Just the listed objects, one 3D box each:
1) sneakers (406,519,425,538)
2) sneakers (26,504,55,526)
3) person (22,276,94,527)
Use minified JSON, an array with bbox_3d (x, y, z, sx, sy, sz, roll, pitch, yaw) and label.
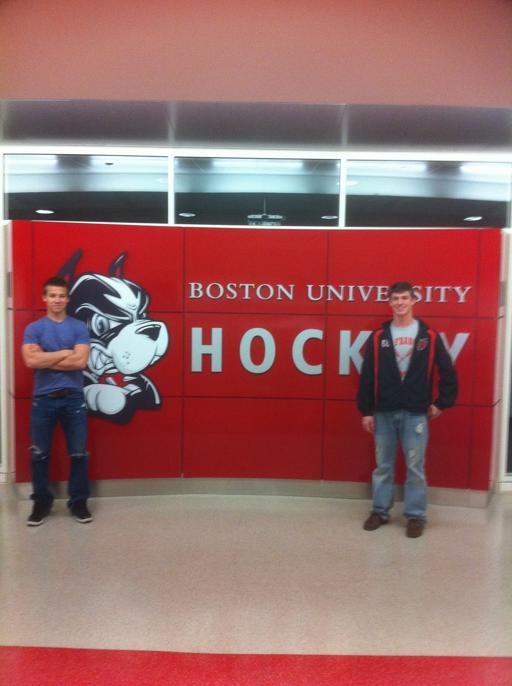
[{"bbox_3d":[1.002,1.168,4.032,0.094,0.092,0.147,4,8,25],"label":"sneakers"},{"bbox_3d":[-1.426,1.109,4.219,0.115,0.110,0.303,0,7,-6],"label":"sneakers"},{"bbox_3d":[-1.311,0.369,4.214,0.420,1.583,0.435,-1,8,-16],"label":"person"}]
